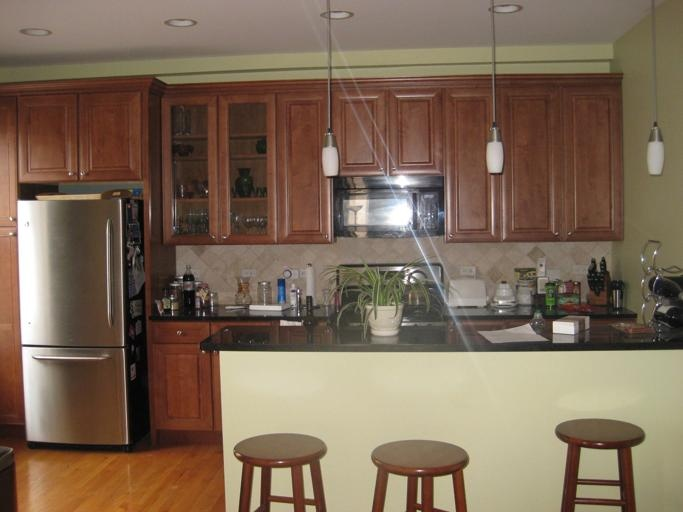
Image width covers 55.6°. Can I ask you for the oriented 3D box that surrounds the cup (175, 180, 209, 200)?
[{"bbox_3d":[-1.307,-0.579,5.614,0.154,0.101,0.248,1,-1,-1],"label":"cup"}]

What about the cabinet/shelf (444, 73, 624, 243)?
[{"bbox_3d":[1.653,-0.868,5.378,1.382,1.277,0.514,-1,4,2],"label":"cabinet/shelf"}]

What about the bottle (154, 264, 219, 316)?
[{"bbox_3d":[-1.363,0.283,5.648,0.406,0.247,0.404,0,4,0],"label":"bottle"}]

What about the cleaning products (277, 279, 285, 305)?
[{"bbox_3d":[-0.534,0.302,5.782,0.087,0.213,0.338,-2,3,-6],"label":"cleaning products"}]

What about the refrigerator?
[{"bbox_3d":[-2.171,0.543,5.336,0.934,2.038,0.260,-1,3,11],"label":"refrigerator"}]

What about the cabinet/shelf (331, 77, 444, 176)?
[{"bbox_3d":[0.427,-1.110,5.438,1.011,0.843,0.402,0,1,3],"label":"cabinet/shelf"}]

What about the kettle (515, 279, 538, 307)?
[{"bbox_3d":[1.616,0.307,5.660,0.172,0.224,0.139,-1,3,12],"label":"kettle"}]

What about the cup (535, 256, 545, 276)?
[{"bbox_3d":[1.772,0.084,5.747,0.082,0.166,0.117,-1,3,17],"label":"cup"}]

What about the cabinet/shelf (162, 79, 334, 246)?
[{"bbox_3d":[-0.756,-0.839,5.526,1.432,1.267,0.466,0,-1,3],"label":"cabinet/shelf"}]

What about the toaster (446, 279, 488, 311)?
[{"bbox_3d":[1.088,0.324,5.573,0.338,0.231,0.237,0,2,12],"label":"toaster"}]

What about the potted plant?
[{"bbox_3d":[0.297,0.297,4.400,0.879,0.563,0.584,-1,-5,3],"label":"potted plant"}]

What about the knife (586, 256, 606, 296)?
[{"bbox_3d":[2.198,0.166,5.565,0.139,0.315,0.235,-1,3,21],"label":"knife"}]

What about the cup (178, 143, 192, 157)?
[{"bbox_3d":[-1.360,-0.925,5.612,0.089,0.116,0.049,12,14,1],"label":"cup"}]

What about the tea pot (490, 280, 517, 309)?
[{"bbox_3d":[1.424,0.328,5.591,0.235,0.211,0.168,-2,3,-2],"label":"tea pot"}]
